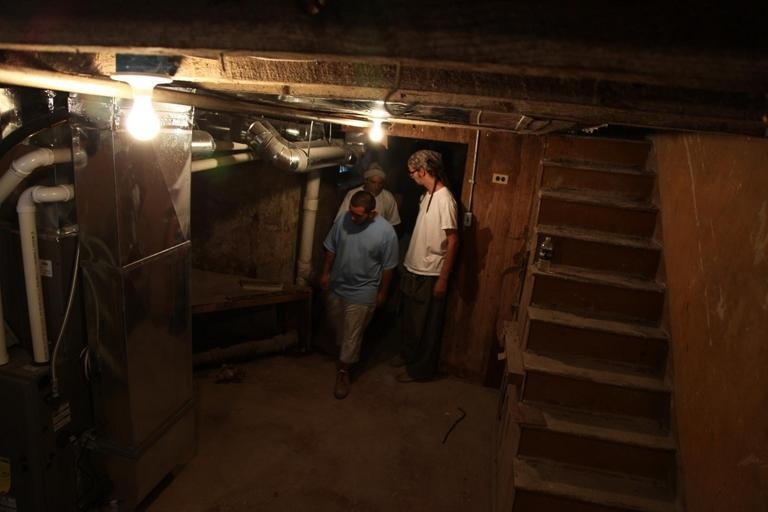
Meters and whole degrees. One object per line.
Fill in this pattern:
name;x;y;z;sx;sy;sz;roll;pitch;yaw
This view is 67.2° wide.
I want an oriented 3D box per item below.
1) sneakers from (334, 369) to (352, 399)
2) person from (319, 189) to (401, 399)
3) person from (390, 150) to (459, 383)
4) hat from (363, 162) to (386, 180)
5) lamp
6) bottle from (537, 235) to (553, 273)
sneakers;-0.482;1.522;6.806;0.128;0.140;0.368;2;28;-4
person;-0.372;0.492;7.066;0.711;2.203;0.867;-1;11;-39
person;0.540;0.180;6.994;0.697;2.820;0.351;12;10;32
hat;-0.110;-1.145;7.815;0.254;0.230;0.246;-1;-12;9
lamp;-1.508;-0.909;3.582;0.366;0.385;0.358;2;6;-26
bottle;1.512;-0.022;5.405;0.131;0.313;0.121;6;8;-1
